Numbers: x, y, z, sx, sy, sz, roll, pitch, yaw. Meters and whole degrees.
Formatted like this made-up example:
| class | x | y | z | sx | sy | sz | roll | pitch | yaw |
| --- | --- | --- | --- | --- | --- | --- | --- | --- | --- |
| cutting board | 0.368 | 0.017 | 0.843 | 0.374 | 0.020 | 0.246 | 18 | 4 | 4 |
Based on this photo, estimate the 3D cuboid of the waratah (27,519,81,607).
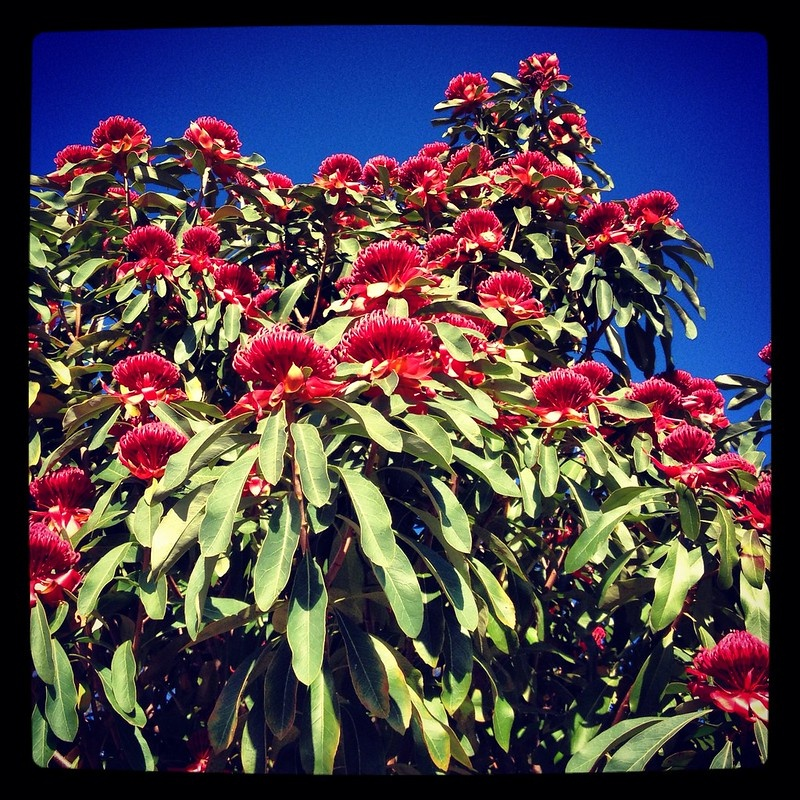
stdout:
| class | x | y | z | sx | sy | sz | roll | pitch | yaw |
| --- | --- | --- | --- | --- | --- | --- | --- | --- | --- |
| waratah | -0.694 | 0.338 | 1.669 | 0.114 | 0.170 | 0.083 | -2 | 5 | -42 |
